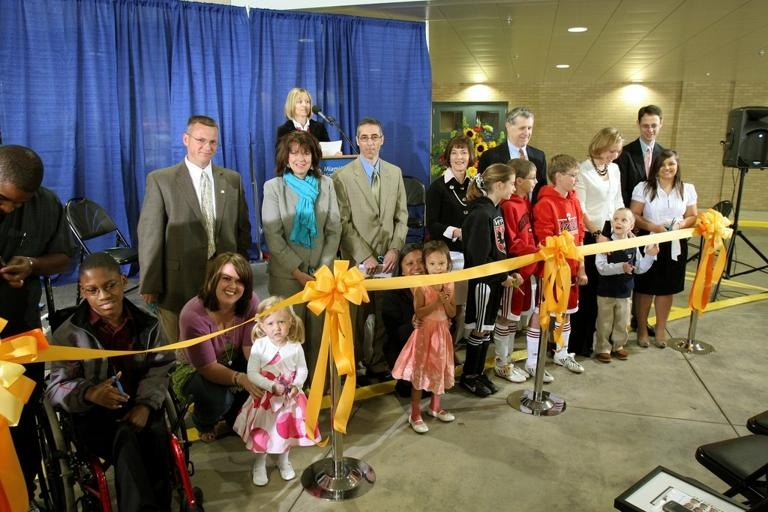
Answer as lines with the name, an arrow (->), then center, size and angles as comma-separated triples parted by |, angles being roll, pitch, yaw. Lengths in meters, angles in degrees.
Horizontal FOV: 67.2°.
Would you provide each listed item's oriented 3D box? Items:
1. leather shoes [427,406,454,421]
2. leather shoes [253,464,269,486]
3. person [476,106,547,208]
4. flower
leather shoes -> 0.463, 1.285, 4.705 | 0.225, 0.080, 0.082 | 1, 3, 21
leather shoes -> -0.884, 1.533, 4.080 | 0.115, 0.128, 0.119 | -6, 15, -14
person -> 1.309, -0.788, 5.653 | 0.759, 1.253, 0.437 | -6, 8, -15
flower -> 1.071, -1.518, 7.556 | 0.876, 0.324, 0.699 | 0, 0, 22
